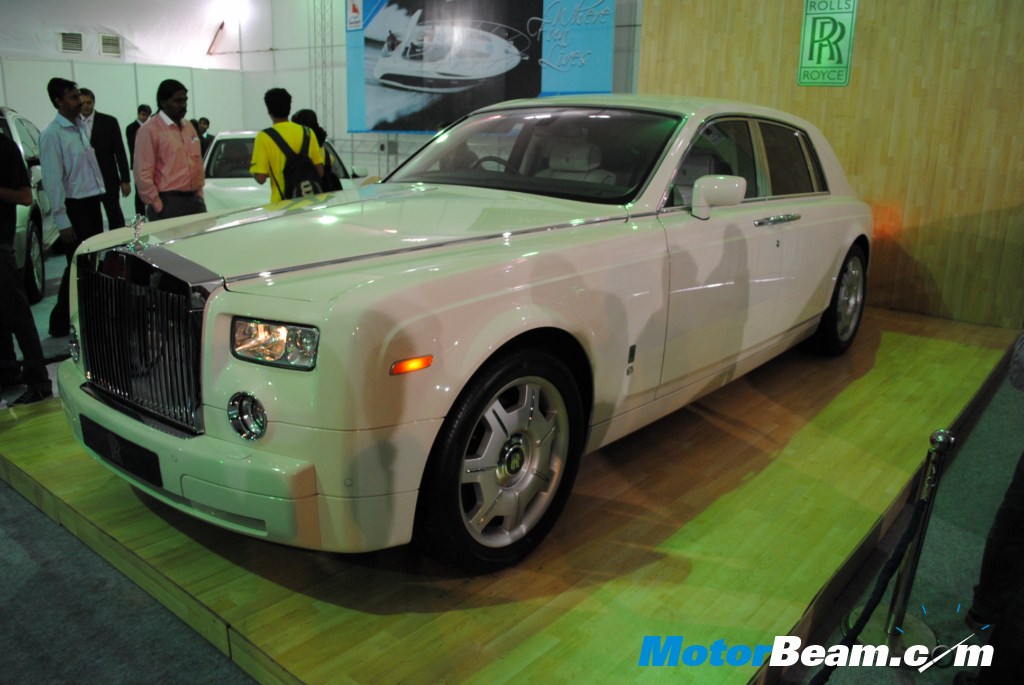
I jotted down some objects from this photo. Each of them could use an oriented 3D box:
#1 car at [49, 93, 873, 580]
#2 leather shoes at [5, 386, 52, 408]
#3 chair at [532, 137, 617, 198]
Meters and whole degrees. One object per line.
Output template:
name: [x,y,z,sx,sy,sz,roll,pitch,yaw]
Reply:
car: [-0.223,-0.652,4.551,5.127,1.907,3.677,-18,24,-39]
leather shoes: [-3.058,0.351,4.120,0.088,0.115,0.221,-4,-1,13]
chair: [0.280,-0.840,3.455,0.458,0.414,0.416,6,10,11]
